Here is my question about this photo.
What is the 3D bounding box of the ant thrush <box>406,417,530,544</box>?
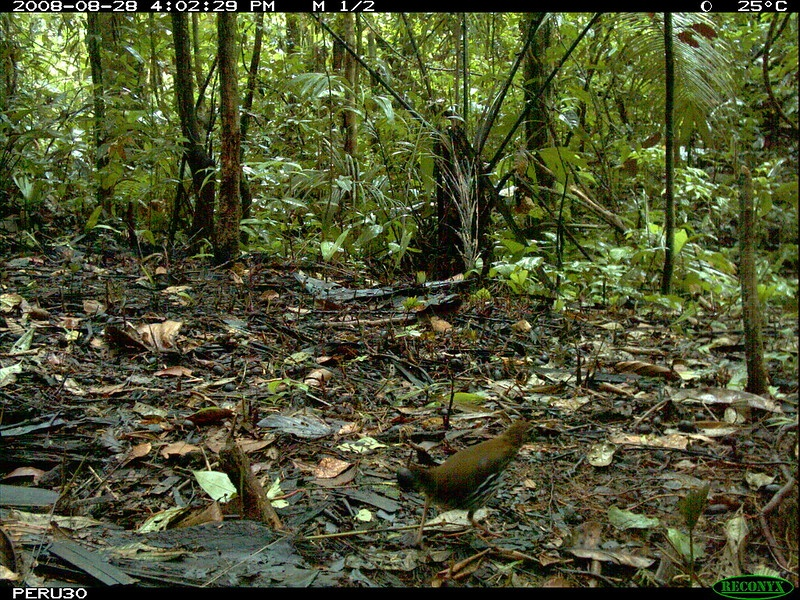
[{"bbox_3d":[0.152,0.434,1.848,0.435,0.227,0.136,-1,11,-39],"label":"ant thrush"}]
